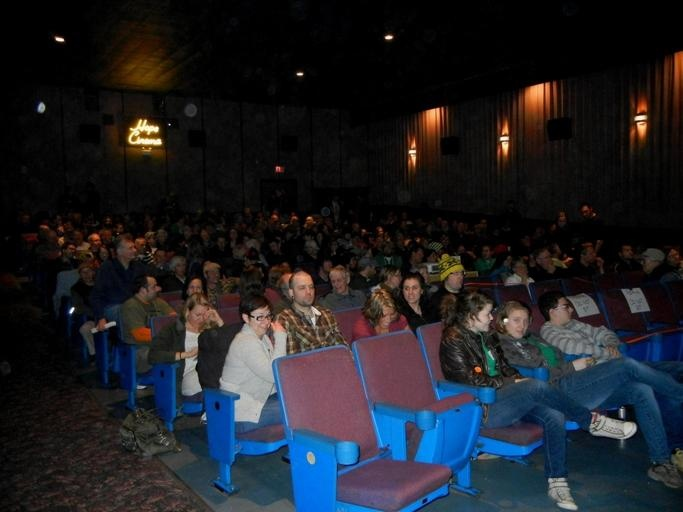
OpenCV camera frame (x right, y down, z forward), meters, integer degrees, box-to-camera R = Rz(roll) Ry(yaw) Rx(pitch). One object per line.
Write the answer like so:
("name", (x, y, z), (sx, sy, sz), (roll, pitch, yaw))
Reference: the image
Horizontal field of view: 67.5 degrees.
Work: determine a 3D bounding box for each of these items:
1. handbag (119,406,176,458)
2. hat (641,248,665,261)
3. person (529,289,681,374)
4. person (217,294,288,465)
("handbag", (-1.653, 1.477, 4.294), (0.434, 0.213, 0.306), (19, 17, 21))
("hat", (4.155, -0.020, 6.813), (0.264, 0.123, 0.181), (-2, -1, 20))
("person", (2.353, 0.656, 4.643), (1.184, 0.652, 0.658), (-6, 5, 37))
("person", (-0.679, 0.781, 3.742), (0.426, 0.986, 0.301), (-3, 4, -14))
